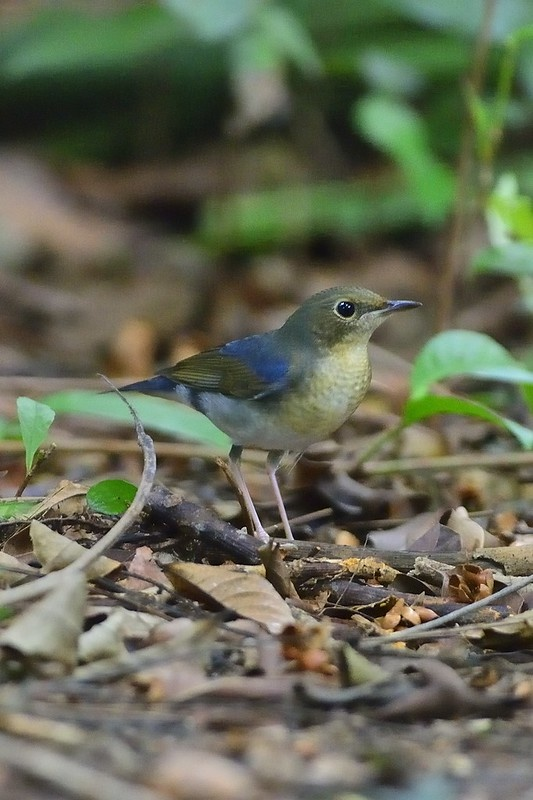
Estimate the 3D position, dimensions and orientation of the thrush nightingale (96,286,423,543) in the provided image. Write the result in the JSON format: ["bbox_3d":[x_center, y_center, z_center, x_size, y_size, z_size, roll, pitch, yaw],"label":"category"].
[{"bbox_3d":[-0.002,0.018,2.793,1.038,0.695,0.404,8,1,41],"label":"thrush nightingale"}]
